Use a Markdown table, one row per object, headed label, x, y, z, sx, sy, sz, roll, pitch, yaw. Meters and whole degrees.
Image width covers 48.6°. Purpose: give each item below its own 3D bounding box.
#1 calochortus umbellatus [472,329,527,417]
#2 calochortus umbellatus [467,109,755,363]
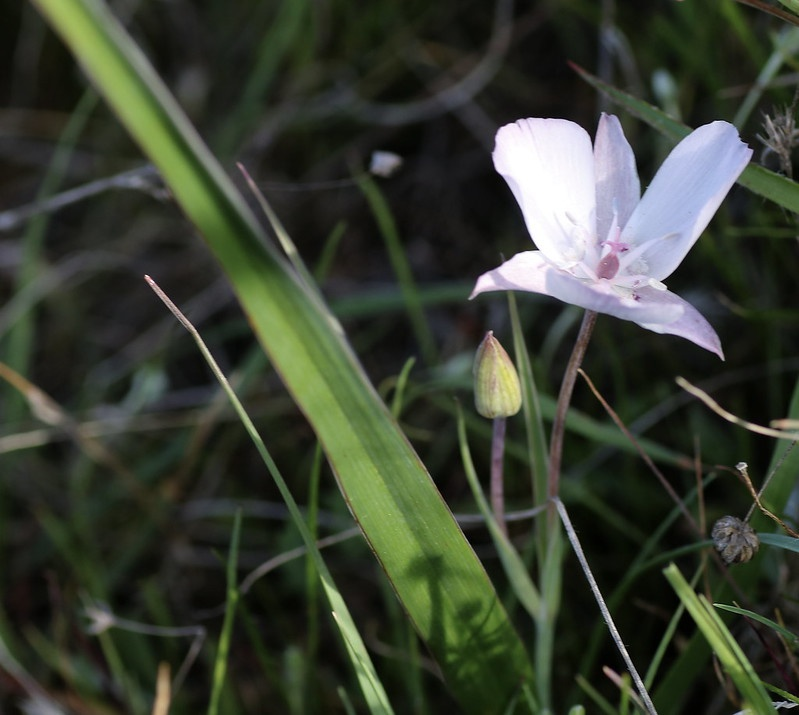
| label | x | y | z | sx | sy | sz | roll | pitch | yaw |
| --- | --- | --- | --- | --- | --- | --- | --- | --- | --- |
| calochortus umbellatus | 0.214 | 0.031 | 1.980 | 0.099 | 0.109 | 0.200 | 12 | -50 | 27 |
| calochortus umbellatus | 0.430 | -0.265 | 1.863 | 0.602 | 0.513 | 0.319 | -10 | -48 | -10 |
